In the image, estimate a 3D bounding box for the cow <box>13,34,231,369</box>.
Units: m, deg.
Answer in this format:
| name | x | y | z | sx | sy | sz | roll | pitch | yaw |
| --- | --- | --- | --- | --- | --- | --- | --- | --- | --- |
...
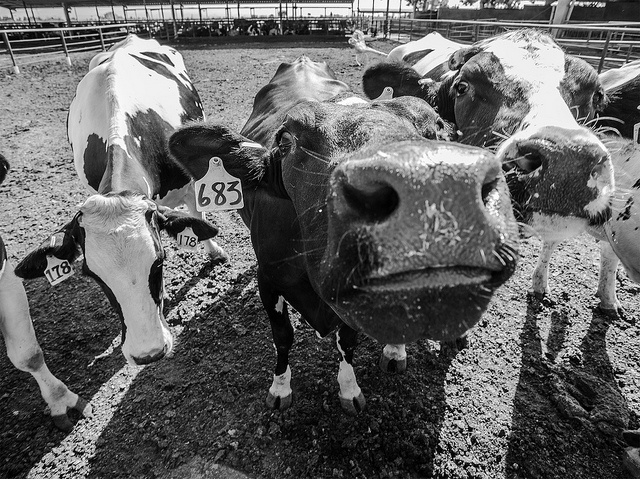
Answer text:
| name | x | y | z | sx | sy | sz | roll | pitch | yaw |
| --- | --- | --- | --- | --- | --- | --- | --- | --- | --- |
| cow | -1.955 | -0.712 | 5.746 | 1.614 | 2.347 | 4.522 | -2 | 55 | -20 |
